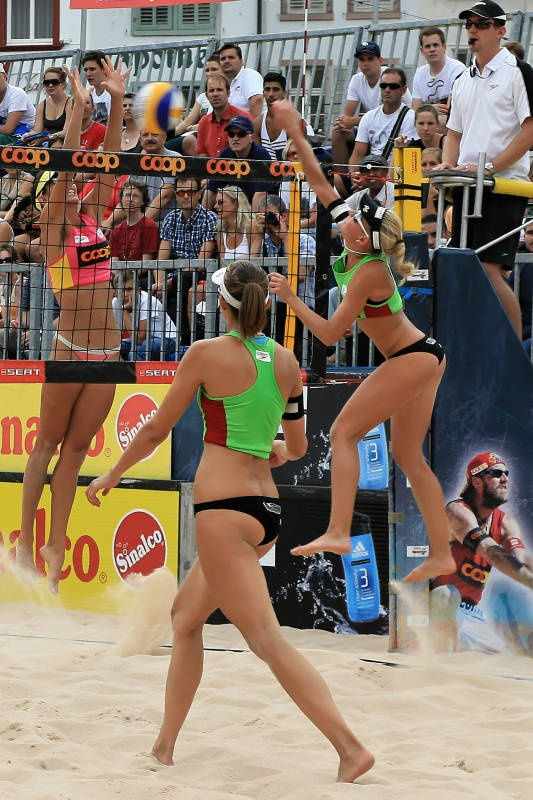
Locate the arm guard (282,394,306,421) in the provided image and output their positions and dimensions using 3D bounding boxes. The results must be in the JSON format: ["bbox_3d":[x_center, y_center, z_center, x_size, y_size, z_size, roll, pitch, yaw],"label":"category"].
[{"bbox_3d":[0.103,0.032,3.346,0.091,0.089,0.092,1,6,2],"label":"arm guard"}]

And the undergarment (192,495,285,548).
[{"bbox_3d":[-0.065,0.424,3.037,0.219,0.102,0.218,1,-18,-4],"label":"undergarment"}]

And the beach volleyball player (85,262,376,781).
[{"bbox_3d":[-0.088,0.460,3.191,0.808,1.867,0.549,0,1,36],"label":"beach volleyball player"}]

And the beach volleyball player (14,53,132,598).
[{"bbox_3d":[-1.006,-0.358,4.707,0.557,2.340,0.483,1,10,4],"label":"beach volleyball player"}]

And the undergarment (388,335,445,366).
[{"bbox_3d":[0.641,-0.212,3.905,0.182,0.079,0.135,-20,-8,33],"label":"undergarment"}]

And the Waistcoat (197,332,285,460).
[{"bbox_3d":[-0.084,-0.035,3.158,0.298,0.398,0.213,-1,8,-44],"label":"Waistcoat"}]
